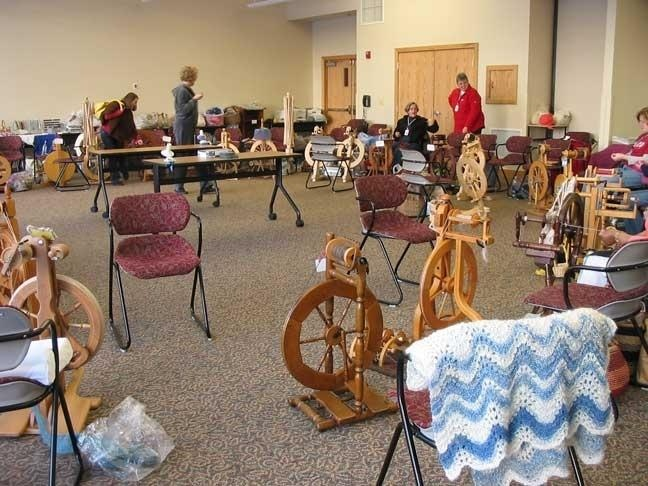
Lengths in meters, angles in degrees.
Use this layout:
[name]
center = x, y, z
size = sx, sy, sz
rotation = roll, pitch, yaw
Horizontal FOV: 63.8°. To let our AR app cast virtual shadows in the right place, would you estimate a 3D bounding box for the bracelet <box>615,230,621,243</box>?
[bracelet]
center = 1.667, -0.034, 2.953
size = 0.013, 0.045, 0.040
rotation = 5, -9, 0
